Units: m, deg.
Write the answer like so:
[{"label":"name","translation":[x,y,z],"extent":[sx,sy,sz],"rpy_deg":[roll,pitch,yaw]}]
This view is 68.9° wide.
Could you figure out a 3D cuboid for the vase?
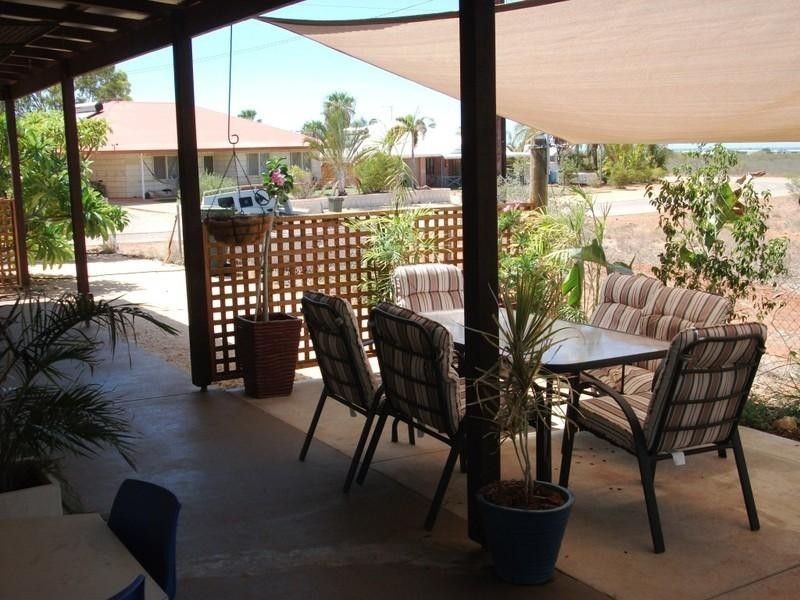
[{"label":"vase","translation":[-1.214,0.552,5.440],"extent":[0.625,0.755,0.301],"rpy_deg":[-1,10,-2]}]

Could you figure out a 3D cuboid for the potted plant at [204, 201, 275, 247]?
[{"label":"potted plant","translation":[-1.542,-0.646,5.484],"extent":[0.563,0.236,0.562],"rpy_deg":[-3,10,-14]}]

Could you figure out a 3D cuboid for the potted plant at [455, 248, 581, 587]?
[{"label":"potted plant","translation":[0.808,0.482,3.697],"extent":[0.533,1.534,2.384],"rpy_deg":[2,10,14]}]

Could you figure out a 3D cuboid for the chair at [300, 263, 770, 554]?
[{"label":"chair","translation":[0.801,0.709,3.522],"extent":[1.364,0.643,1.677],"rpy_deg":[0,3,-24]}]
